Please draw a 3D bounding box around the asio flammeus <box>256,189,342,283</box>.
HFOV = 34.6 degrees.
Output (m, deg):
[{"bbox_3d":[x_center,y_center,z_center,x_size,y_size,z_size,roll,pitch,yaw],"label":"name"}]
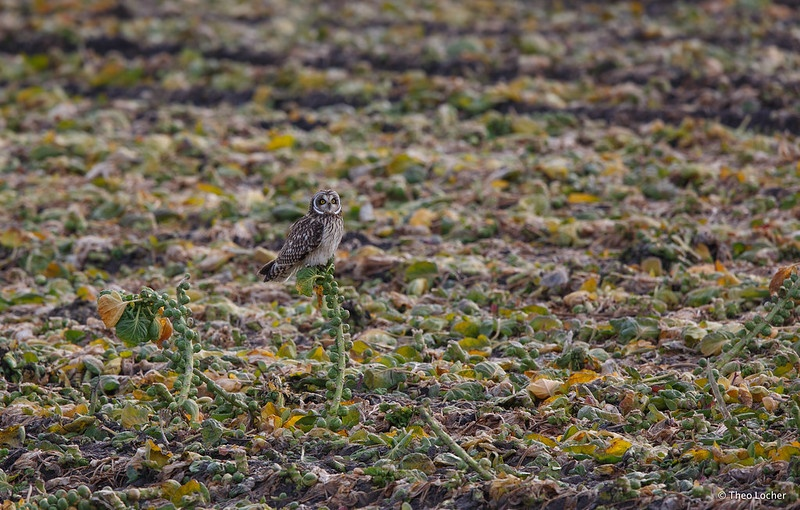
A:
[{"bbox_3d":[-0.845,-0.148,11.402,0.653,0.788,0.347,1,34,-6],"label":"asio flammeus"}]
